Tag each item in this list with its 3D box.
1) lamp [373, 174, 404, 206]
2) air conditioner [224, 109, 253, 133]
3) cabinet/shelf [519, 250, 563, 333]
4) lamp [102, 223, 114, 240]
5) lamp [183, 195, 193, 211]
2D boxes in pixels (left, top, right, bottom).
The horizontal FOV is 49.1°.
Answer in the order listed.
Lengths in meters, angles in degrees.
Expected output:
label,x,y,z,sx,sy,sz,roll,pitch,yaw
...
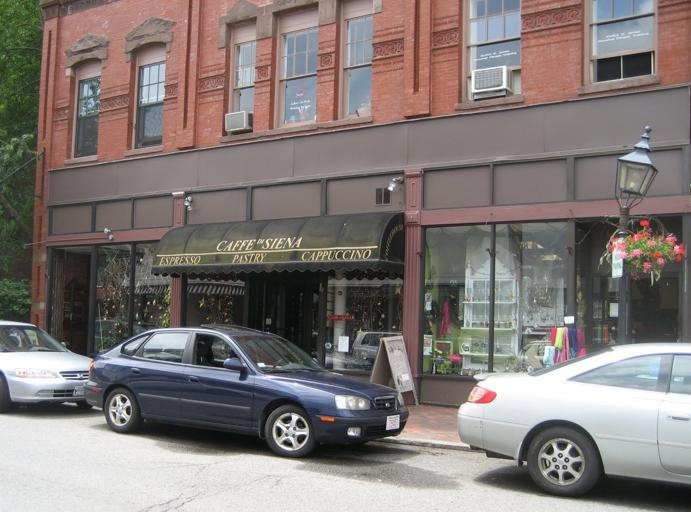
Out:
label,x,y,z,sx,sy,sz,roll,pitch,yaw
lamp,1.048,-1.555,17.897,0.706,0.717,0.236,-3,-10,43
air conditioner,-2.803,-3.496,20.152,0.930,0.724,0.519,-1,-2,29
cabinet/shelf,4.273,0.782,16.425,0.917,1.669,0.451,5,10,15
lamp,-6.813,-0.667,21.763,0.193,0.367,0.511,-7,13,-40
lamp,-4.283,-1.435,20.512,0.264,0.434,0.208,7,11,26
